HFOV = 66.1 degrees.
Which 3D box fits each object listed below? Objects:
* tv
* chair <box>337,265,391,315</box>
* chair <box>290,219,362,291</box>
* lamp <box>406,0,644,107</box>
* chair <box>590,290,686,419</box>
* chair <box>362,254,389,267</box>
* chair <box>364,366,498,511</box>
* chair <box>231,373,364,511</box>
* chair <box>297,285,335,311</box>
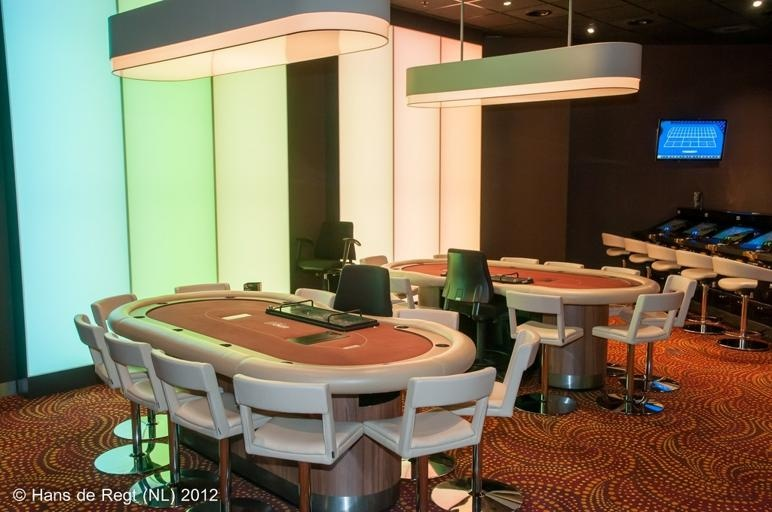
[{"bbox_3d":[5.477,-2.030,10.538,1.105,0.655,0.104,3,8,11],"label":"tv"},{"bbox_3d":[-0.210,0.325,5.516,0.602,0.462,0.247,5,11,35],"label":"chair"},{"bbox_3d":[-0.808,0.138,8.201,0.876,1.154,0.722,1,9,22],"label":"chair"},{"bbox_3d":[1.442,-1.982,6.491,2.406,0.527,0.313,4,16,20],"label":"lamp"},{"bbox_3d":[2.448,0.859,5.798,0.714,1.197,0.760,7,16,27],"label":"chair"},{"bbox_3d":[-0.149,0.064,7.362,0.186,0.202,0.186,-1,-4,18],"label":"chair"},{"bbox_3d":[0.278,0.966,3.823,0.801,0.542,0.354,-4,15,-14],"label":"chair"},{"bbox_3d":[-0.557,1.230,3.870,0.690,1.072,0.458,5,16,22],"label":"chair"},{"bbox_3d":[-0.678,0.397,5.568,0.242,0.163,0.226,5,-7,19],"label":"chair"}]
